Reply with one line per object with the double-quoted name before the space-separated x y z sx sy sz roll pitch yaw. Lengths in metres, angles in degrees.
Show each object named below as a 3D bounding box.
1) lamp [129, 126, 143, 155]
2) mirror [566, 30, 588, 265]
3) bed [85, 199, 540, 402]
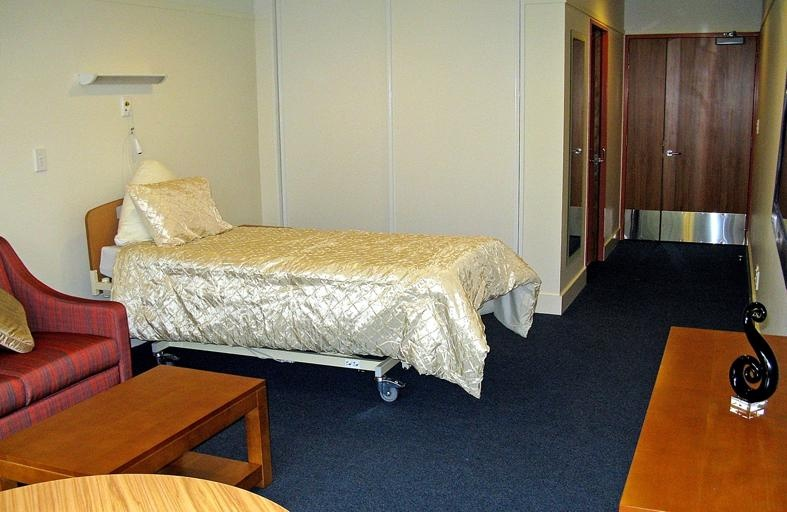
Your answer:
"lamp" -2.195 -0.966 4.633 0.089 0.235 0.132 -9 14 -22
"mirror" 1.910 -1.065 5.625 0.116 2.220 0.832 3 14 23
"bed" -0.479 0.203 4.027 2.732 1.273 1.633 3 17 12
